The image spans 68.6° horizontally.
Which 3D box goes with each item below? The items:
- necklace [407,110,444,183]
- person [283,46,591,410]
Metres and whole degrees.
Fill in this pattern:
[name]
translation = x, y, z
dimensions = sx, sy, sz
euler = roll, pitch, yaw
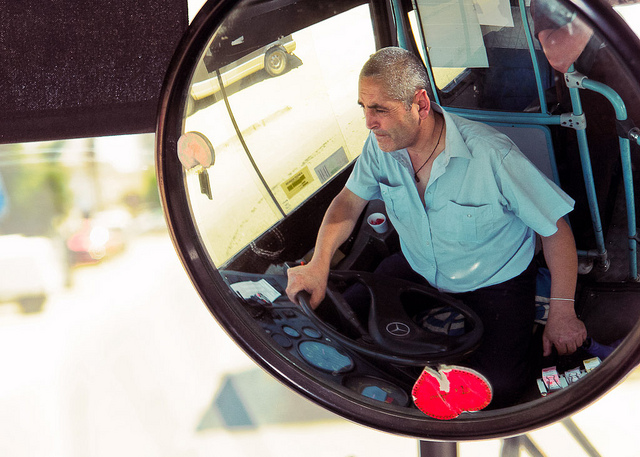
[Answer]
[necklace]
translation = 0.290, -0.213, 1.257
dimensions = 0.074, 0.160, 0.025
euler = 26, 46, 26
[person]
translation = 0.280, -0.066, 1.194
dimensions = 0.699, 0.761, 0.467
euler = 1, 24, 32
